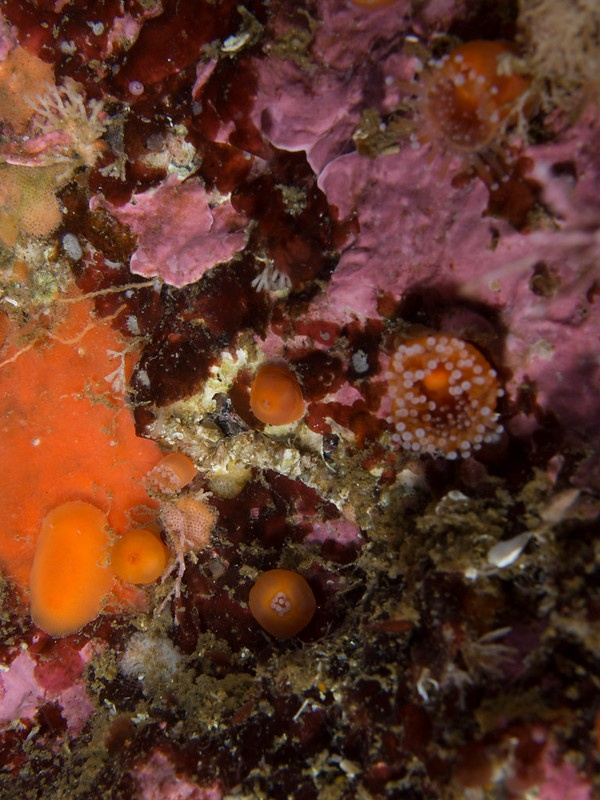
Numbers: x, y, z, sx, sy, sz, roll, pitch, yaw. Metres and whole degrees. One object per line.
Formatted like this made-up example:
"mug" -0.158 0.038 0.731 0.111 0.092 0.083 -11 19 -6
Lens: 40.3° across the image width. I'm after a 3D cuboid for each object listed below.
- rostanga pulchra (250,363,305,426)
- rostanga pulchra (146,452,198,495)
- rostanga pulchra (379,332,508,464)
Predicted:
"rostanga pulchra" -0.148 0.021 5.466 0.348 0.428 0.395 5 25 10
"rostanga pulchra" -0.919 0.548 5.976 0.346 0.270 0.149 -18 9 12
"rostanga pulchra" 0.887 -0.018 5.034 0.710 0.726 0.261 5 26 10
